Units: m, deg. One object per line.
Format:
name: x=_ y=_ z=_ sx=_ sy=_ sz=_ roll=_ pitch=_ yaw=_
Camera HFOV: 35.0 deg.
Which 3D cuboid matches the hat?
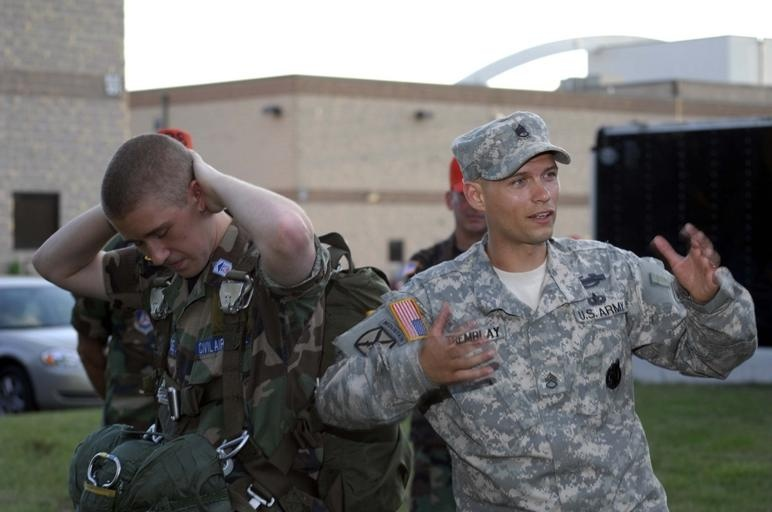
hat: x=0.725 y=-0.655 z=7.706 sx=0.407 sy=0.265 sz=0.576 roll=-11 pitch=7 yaw=-39
